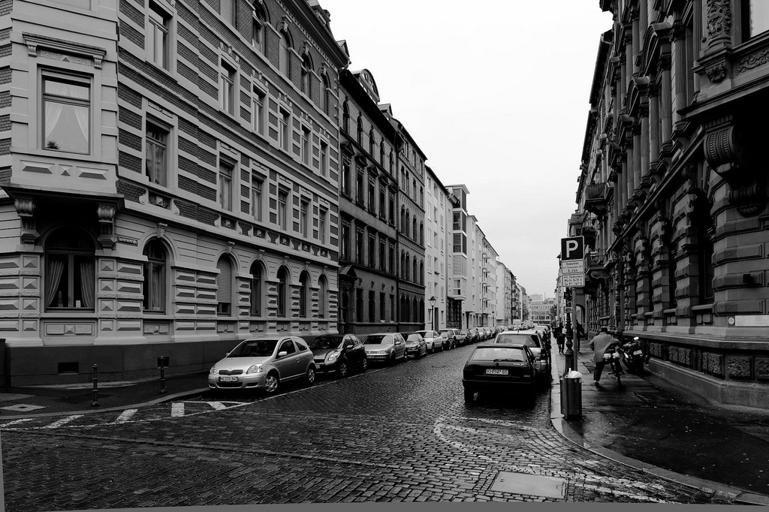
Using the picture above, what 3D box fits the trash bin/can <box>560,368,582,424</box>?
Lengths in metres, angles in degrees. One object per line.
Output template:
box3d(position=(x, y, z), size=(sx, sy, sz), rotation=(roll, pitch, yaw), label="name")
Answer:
box3d(position=(5.329, 3.923, 20.016), size=(0.582, 1.378, 0.529), rotation=(-2, -8, 2), label="trash bin/can")

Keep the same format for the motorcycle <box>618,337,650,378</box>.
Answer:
box3d(position=(10.109, 4.049, 28.545), size=(0.698, 1.010, 1.802), rotation=(-3, -9, 7), label="motorcycle")
